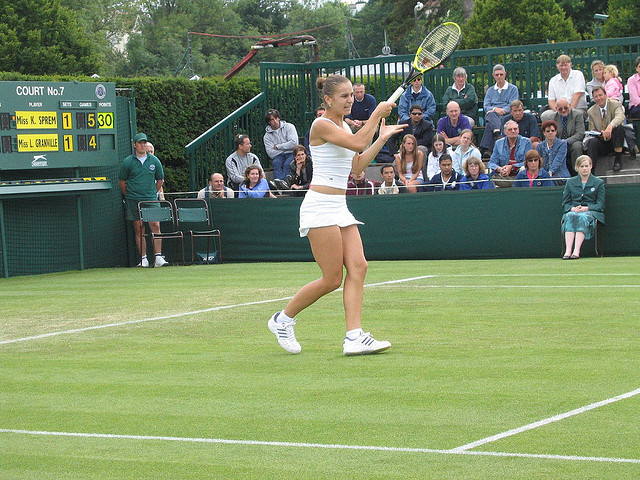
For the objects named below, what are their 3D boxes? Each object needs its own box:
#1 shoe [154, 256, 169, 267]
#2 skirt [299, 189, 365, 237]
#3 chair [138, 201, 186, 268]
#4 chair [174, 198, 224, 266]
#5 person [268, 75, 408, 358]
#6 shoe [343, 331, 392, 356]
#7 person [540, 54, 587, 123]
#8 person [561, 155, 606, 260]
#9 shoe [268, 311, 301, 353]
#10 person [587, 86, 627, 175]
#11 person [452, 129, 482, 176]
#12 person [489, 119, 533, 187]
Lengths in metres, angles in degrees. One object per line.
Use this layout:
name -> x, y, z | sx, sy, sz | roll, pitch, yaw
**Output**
shoe -> -2.886, 0.414, 18.281 | 0.262, 0.170, 0.469 | -4, 9, -10
skirt -> 0.065, -0.236, 8.795 | 0.488, 0.409, 0.249 | -2, 9, 1
chair -> -2.866, -0.136, 18.069 | 0.919, 1.162, 0.928 | -1, 3, 19
chair -> -2.196, -0.159, 18.123 | 0.914, 1.156, 0.913 | 0, 3, 10
person -> 0.133, -0.194, 8.799 | 1.150, 2.443, 0.514 | -2, 9, 2
shoe -> 0.375, 0.921, 8.876 | 0.488, 0.210, 0.168 | -3, -1, -15
person -> 4.248, -2.582, 17.284 | 0.928, 1.131, 1.021 | 2, 15, 41
person -> 3.966, -0.484, 15.186 | 0.639, 1.553, 0.503 | -1, 9, 13
shoe -> -0.318, 0.834, 8.994 | 0.262, 0.364, 0.193 | -2, 9, 2
person -> 4.660, -1.764, 16.423 | 0.589, 1.441, 0.606 | 0, 9, 14
person -> 2.394, -1.436, 16.886 | 0.509, 0.741, 0.673 | 4, -3, 33
person -> 3.167, -1.438, 16.807 | 1.003, 1.302, 1.001 | 2, 13, 15
